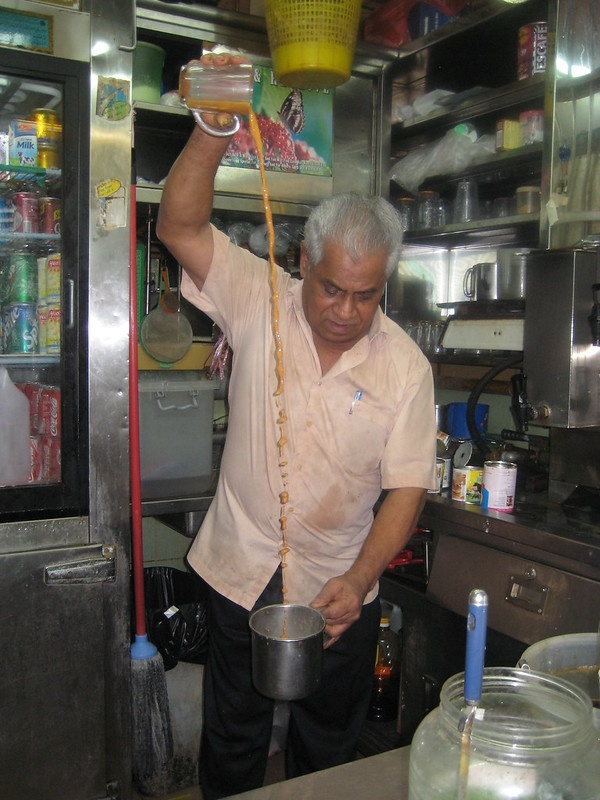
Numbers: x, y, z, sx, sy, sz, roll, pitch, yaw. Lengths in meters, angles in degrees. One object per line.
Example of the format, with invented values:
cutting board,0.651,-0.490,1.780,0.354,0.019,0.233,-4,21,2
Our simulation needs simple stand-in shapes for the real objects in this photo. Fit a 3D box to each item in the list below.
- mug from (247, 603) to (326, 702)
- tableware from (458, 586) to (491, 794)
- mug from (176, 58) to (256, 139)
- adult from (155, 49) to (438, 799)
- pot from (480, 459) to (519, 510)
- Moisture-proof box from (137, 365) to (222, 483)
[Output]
mug,-0.021,0.410,1.118,0.162,0.127,0.130,1,8,3
tableware,0.128,0.217,0.518,0.018,0.152,0.040,1,4,14
mug,-0.148,-0.505,1.180,0.115,0.099,0.172,0,4,-11
adult,0.011,0.073,1.714,0.624,0.897,0.332,10,19,5
pot,0.571,0.237,2.055,0.122,0.193,0.129,1,3,0
Moisture-proof box,-0.379,0.075,2.558,0.353,0.431,0.337,-1,10,-12
